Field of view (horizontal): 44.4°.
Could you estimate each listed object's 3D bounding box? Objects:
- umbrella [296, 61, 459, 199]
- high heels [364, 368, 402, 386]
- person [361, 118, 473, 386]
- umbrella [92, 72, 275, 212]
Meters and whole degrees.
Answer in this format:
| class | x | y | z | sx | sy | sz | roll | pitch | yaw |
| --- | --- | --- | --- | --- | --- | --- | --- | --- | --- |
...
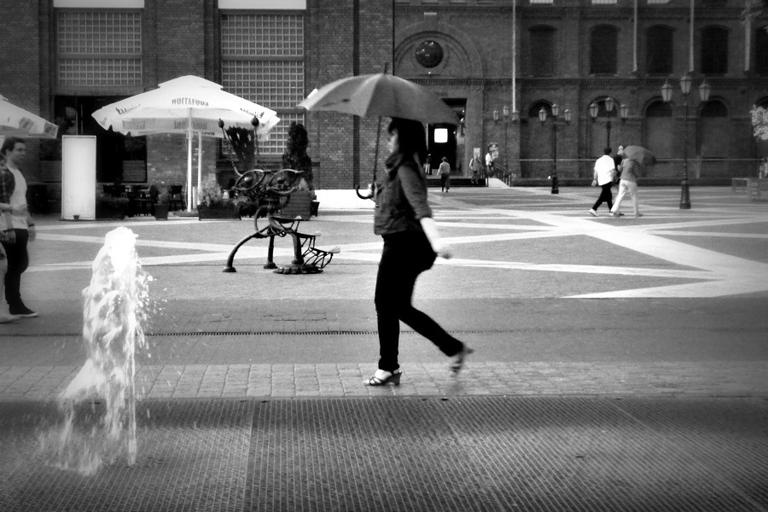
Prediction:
| class | x | y | z | sx | sy | sz | roll | pitch | yaw |
| --- | --- | --- | --- | --- | --- | --- | --- | --- | --- |
| umbrella | -0.085 | -1.338 | 9.833 | 1.524 | 1.000 | 1.441 | 3 | 1 | 0 |
| high heels | -0.010 | 1.195 | 9.263 | 0.277 | 0.108 | 0.176 | 1 | -4 | 4 |
| person | 0.289 | -0.002 | 9.059 | 0.919 | 2.593 | 0.738 | 3 | 11 | 14 |
| umbrella | -5.618 | -3.489 | 27.037 | 4.403 | 2.814 | 4.358 | -3 | 6 | -9 |
